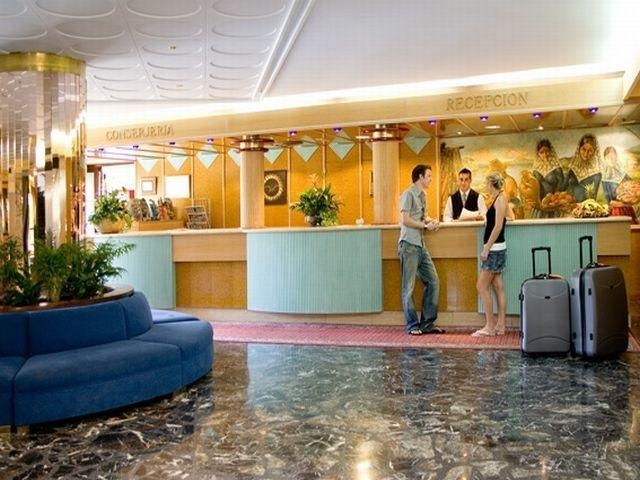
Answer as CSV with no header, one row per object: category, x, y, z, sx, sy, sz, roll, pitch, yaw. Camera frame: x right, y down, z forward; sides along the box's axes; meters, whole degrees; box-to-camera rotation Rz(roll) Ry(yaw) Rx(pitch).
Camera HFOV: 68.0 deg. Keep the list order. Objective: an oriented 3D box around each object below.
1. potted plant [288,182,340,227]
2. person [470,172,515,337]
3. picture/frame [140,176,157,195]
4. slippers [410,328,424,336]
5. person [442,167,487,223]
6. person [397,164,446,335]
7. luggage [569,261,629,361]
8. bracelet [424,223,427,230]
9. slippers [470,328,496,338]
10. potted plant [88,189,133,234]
potted plant,0.012,-0.660,8.330,0.767,0.617,0.783,1,-5,14
person,2.430,0.219,6.683,0.523,2.254,0.727,-1,2,22
picture/frame,-5.208,-1.667,14.457,0.570,0.575,0.068,0,-1,22
slippers,1.394,1.340,6.960,0.210,0.078,0.183,-1,3,10
person,2.415,-0.710,7.946,0.866,1.348,0.800,0,-1,19
person,1.502,0.124,7.157,0.648,2.482,0.589,-1,2,8
luggage,3.252,0.828,5.474,0.611,1.022,0.356,-2,2,-5
bracelet,1.556,-0.206,7.030,0.058,0.088,0.092,0,-25,9
slippers,2.283,1.303,6.635,0.368,0.159,0.129,2,-1,7
potted plant,-3.975,-0.541,8.954,0.720,0.829,0.480,-3,3,-24
